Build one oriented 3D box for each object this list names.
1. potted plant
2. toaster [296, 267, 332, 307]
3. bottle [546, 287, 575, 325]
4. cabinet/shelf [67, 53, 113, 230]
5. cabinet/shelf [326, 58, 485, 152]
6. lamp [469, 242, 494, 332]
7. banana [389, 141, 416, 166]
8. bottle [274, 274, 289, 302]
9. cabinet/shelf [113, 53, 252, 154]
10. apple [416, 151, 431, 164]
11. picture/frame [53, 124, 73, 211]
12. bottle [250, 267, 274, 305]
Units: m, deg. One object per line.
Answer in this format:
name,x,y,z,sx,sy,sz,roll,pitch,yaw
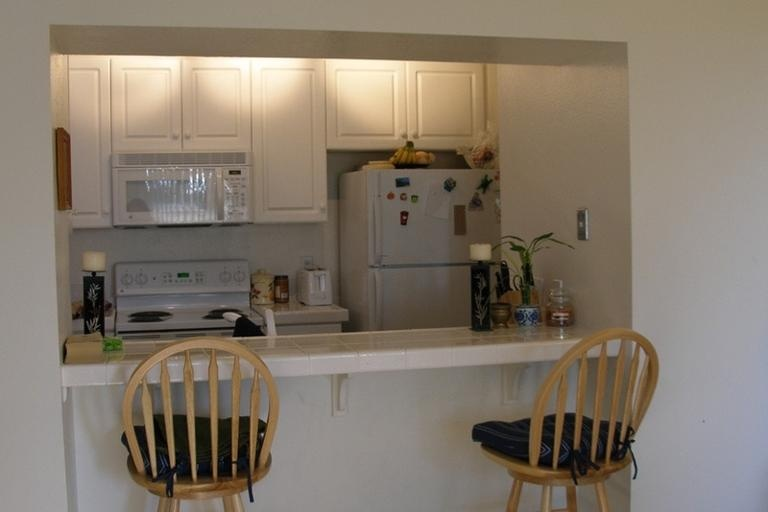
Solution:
potted plant,0.762,0.099,3.244,0.361,0.445,0.393,-2,-3,0
toaster,-0.536,0.228,4.712,0.186,0.262,0.371,-3,3,-21
bottle,0.882,0.268,3.126,0.139,0.193,0.171,0,-2,-25
cabinet/shelf,-2.027,-0.796,4.311,0.296,1.175,0.103,-3,3,-25
cabinet/shelf,0.159,-1.104,4.832,1.213,0.722,0.418,-1,-9,-4
lamp,0.478,0.155,3.097,0.103,0.426,0.253,-2,3,8
banana,0.131,-0.745,4.498,0.220,0.108,0.126,-27,26,-32
bottle,-0.790,0.252,4.740,0.103,0.202,0.093,-1,3,19
cabinet/shelf,-1.512,-1.186,4.585,0.999,0.666,0.555,-8,34,-27
apple,0.293,-0.726,4.600,0.093,0.047,0.094,1,1,-6
picture/frame,-1.391,-0.380,2.702,0.063,0.371,0.289,-3,3,-27
bottle,-0.924,0.242,4.702,0.219,0.254,0.219,0,2,-21
